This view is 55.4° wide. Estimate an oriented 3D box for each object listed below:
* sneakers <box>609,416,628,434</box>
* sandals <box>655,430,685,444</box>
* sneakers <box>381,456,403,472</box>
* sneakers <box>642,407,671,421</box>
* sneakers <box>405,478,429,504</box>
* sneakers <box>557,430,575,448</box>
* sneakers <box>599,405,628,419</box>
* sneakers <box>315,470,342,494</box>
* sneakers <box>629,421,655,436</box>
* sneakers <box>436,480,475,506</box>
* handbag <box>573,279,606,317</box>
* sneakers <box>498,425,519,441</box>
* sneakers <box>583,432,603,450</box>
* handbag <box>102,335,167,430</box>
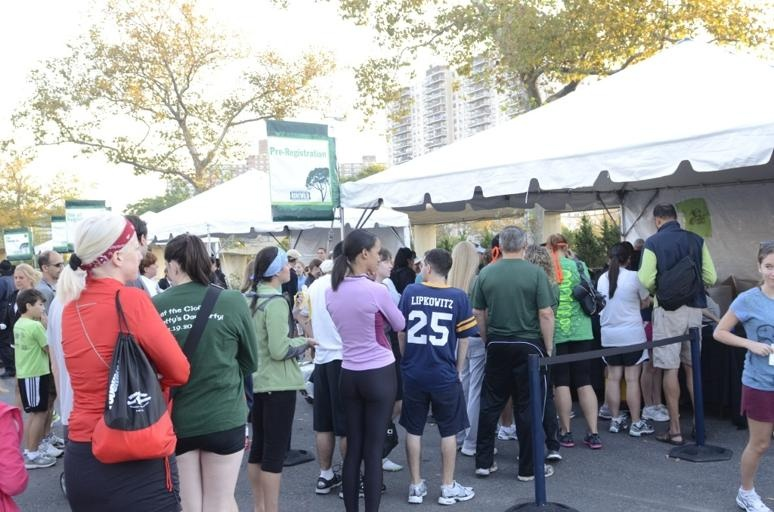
[{"bbox_3d":[3.131,2.231,9.881,0.140,0.175,0.368,1,8,36],"label":"sneakers"},{"bbox_3d":[3.607,2.280,9.305,0.157,0.118,0.273,1,3,-39],"label":"sandals"},{"bbox_3d":[0.073,2.586,9.121,0.329,0.148,0.194,-3,0,28],"label":"sneakers"},{"bbox_3d":[3.681,2.147,10.013,0.371,0.174,0.151,0,2,9],"label":"sneakers"},{"bbox_3d":[0.356,2.676,8.395,0.251,0.246,0.249,-1,-2,-5],"label":"sneakers"},{"bbox_3d":[2.284,2.328,9.354,0.135,0.126,0.285,-1,0,2],"label":"sneakers"},{"bbox_3d":[3.208,2.159,10.343,0.489,0.231,0.171,2,-3,-44],"label":"sneakers"},{"bbox_3d":[-0.684,2.676,8.762,0.157,0.199,0.451,1,2,24],"label":"sneakers"},{"bbox_3d":[3.402,2.235,9.663,0.397,0.214,0.155,-1,1,-19],"label":"sneakers"},{"bbox_3d":[0.784,2.642,8.313,0.449,0.226,0.189,-4,4,-29],"label":"sneakers"},{"bbox_3d":[2.574,0.541,9.326,0.220,0.372,0.299,-48,-1,29],"label":"handbag"},{"bbox_3d":[1.611,2.361,9.823,0.356,0.176,0.147,-1,-2,-7],"label":"sneakers"},{"bbox_3d":[2.614,2.324,9.255,0.131,0.127,0.269,0,4,4],"label":"sneakers"},{"bbox_3d":[-2.154,1.075,6.158,0.688,0.854,0.412,-2,5,-12],"label":"handbag"}]
